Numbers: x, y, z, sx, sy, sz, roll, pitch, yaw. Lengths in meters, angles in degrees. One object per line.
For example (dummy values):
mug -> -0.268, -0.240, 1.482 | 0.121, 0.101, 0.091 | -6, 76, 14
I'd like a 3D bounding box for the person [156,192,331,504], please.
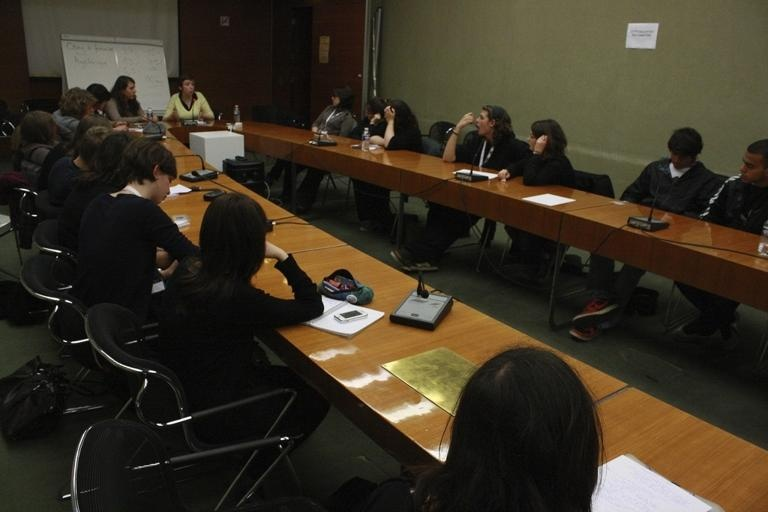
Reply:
person -> -0.561, 0.363, 2.250 | 0.661, 1.210, 0.681 | 24, 31, 39
